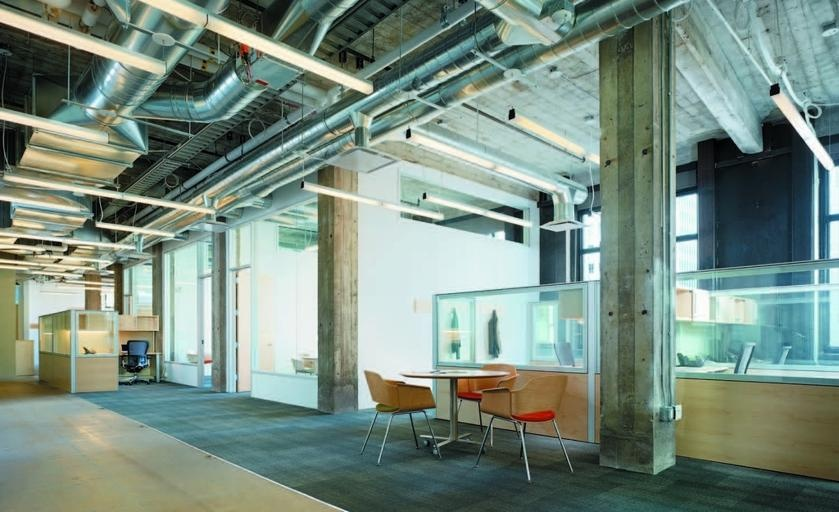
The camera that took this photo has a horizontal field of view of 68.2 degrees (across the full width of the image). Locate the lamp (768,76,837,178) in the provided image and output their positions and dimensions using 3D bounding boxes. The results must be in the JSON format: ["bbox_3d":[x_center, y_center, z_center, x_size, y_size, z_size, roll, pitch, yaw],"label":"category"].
[{"bbox_3d":[7.636,-2.538,12.170,0.276,0.213,2.842,-21,-47,37],"label":"lamp"}]

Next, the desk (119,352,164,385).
[{"bbox_3d":[-8.718,3.414,19.132,1.157,0.805,0.576,4,1,-24],"label":"desk"}]

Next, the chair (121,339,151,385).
[{"bbox_3d":[-8.592,3.147,18.733,0.812,1.349,1.522,-1,1,-26],"label":"chair"}]
